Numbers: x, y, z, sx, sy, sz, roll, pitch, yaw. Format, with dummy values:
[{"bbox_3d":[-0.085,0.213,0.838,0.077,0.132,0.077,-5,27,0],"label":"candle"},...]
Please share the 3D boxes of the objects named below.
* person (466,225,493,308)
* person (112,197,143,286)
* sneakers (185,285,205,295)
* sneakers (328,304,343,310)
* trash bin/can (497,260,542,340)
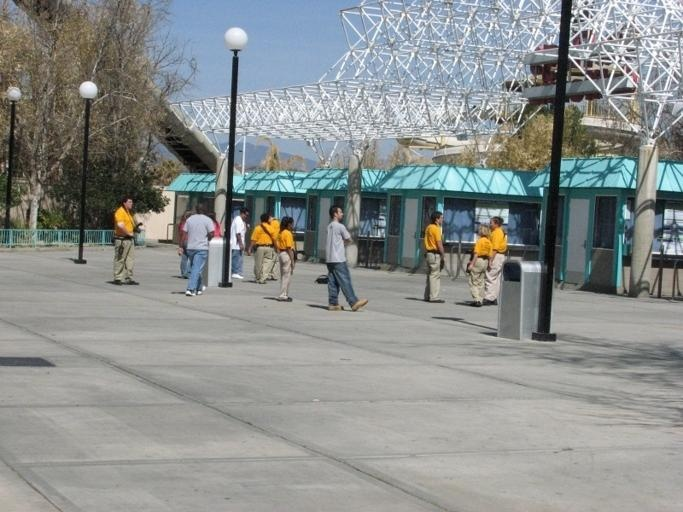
[{"bbox_3d":[3.072,0.193,27.858,0.538,1.683,1.361,3,7,7],"label":"person"},{"bbox_3d":[-4.843,-0.358,27.868,0.550,2.014,0.981,1,7,-10],"label":"person"},{"bbox_3d":[-3.107,0.698,26.178,0.144,0.187,0.452,1,4,10],"label":"sneakers"},{"bbox_3d":[-0.119,0.989,24.704,0.243,0.113,0.120,-2,1,-14],"label":"sneakers"},{"bbox_3d":[3.099,0.740,21.769,0.721,1.338,0.513,3,7,8],"label":"trash bin/can"}]
